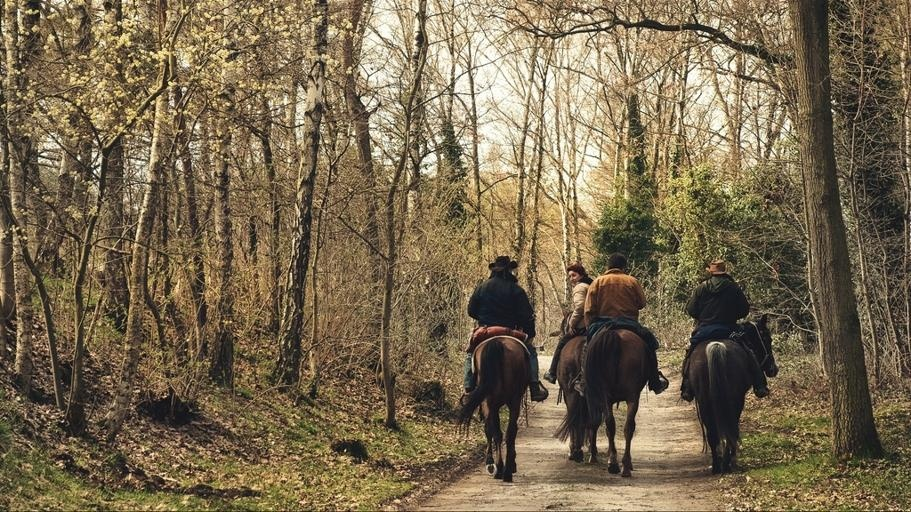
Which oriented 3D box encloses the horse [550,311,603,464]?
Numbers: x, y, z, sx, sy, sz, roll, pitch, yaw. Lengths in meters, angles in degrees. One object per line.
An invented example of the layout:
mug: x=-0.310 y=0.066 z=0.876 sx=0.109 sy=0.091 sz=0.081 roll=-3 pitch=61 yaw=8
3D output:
horse: x=3.631 y=3.459 z=40.149 sx=0.887 sy=2.672 sz=3.648 roll=11 pitch=-2 yaw=-1

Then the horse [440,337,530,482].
horse: x=0.986 y=4.343 z=37.864 sx=1.389 sy=3.920 sz=2.264 roll=0 pitch=-2 yaw=13
